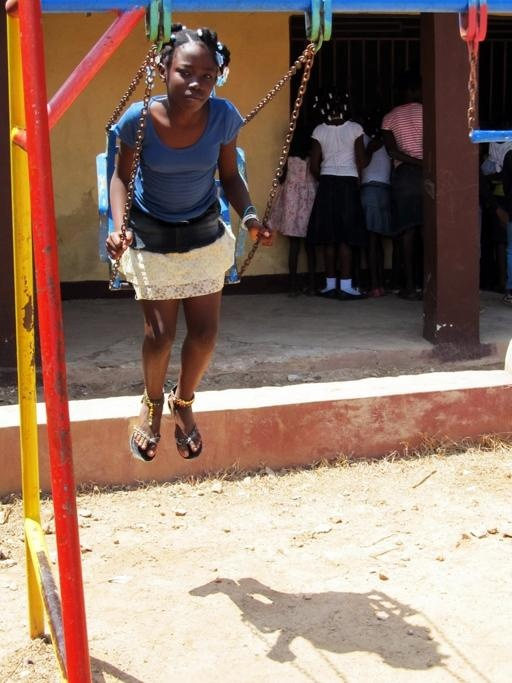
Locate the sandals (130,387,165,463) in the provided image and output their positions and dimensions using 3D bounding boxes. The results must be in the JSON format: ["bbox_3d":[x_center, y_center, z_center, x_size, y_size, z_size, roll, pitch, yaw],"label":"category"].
[{"bbox_3d":[-0.394,0.317,2.679,0.092,0.124,0.317,7,19,-11],"label":"sandals"}]

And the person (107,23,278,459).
[{"bbox_3d":[-0.323,-0.294,2.543,0.546,1.424,0.549,2,25,-21],"label":"person"}]

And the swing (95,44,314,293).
[{"bbox_3d":[-0.121,-0.585,2.527,0.731,0.216,1.201,5,-35,-7],"label":"swing"}]

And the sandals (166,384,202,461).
[{"bbox_3d":[-0.265,0.315,2.757,0.104,0.290,0.079,-11,9,-12],"label":"sandals"}]
